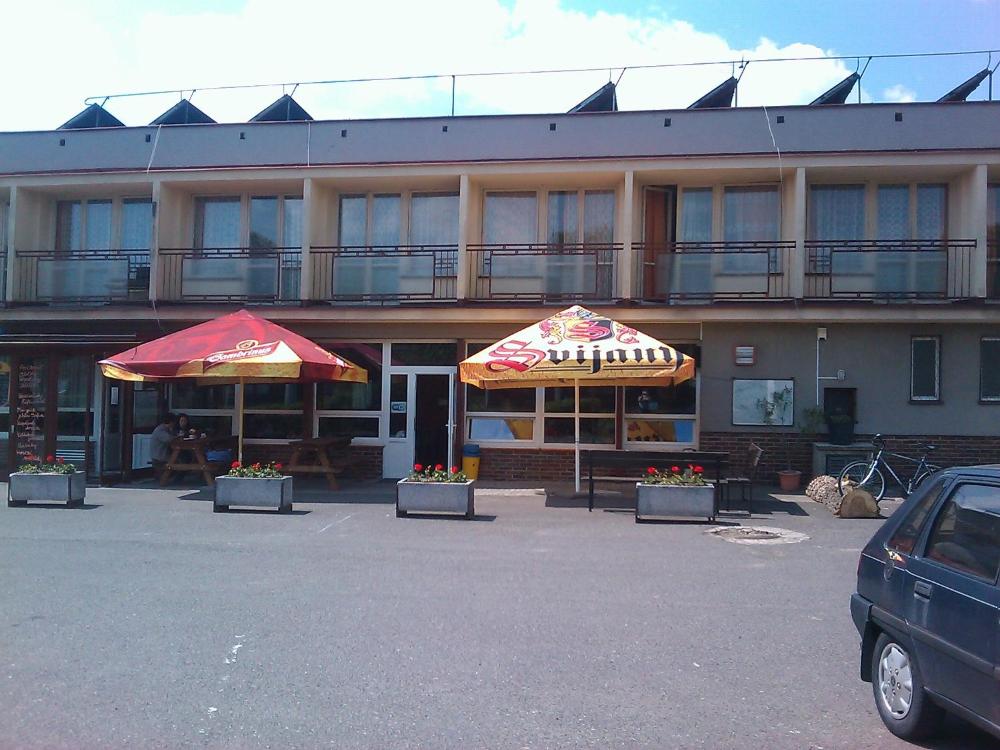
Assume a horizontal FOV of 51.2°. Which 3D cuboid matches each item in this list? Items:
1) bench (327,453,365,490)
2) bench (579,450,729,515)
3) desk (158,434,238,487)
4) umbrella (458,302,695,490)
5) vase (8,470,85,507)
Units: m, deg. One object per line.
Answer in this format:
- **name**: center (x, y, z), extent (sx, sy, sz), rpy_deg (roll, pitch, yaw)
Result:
- **bench**: center (-3.150, 1.887, 20.962), extent (0.587, 0.696, 0.517), rpy_deg (-4, -5, 15)
- **bench**: center (2.202, 1.736, 17.062), extent (0.639, 0.813, 1.942), rpy_deg (24, 8, 40)
- **desk**: center (-5.950, 1.607, 20.352), extent (0.923, 0.714, 1.432), rpy_deg (1, -1, 0)
- **umbrella**: center (1.516, 0.562, 17.772), extent (3.439, 3.361, 3.474), rpy_deg (6, 9, 40)
- **vase**: center (-7.382, 1.807, 17.070), extent (0.871, 0.464, 0.650), rpy_deg (1, 2, -1)
